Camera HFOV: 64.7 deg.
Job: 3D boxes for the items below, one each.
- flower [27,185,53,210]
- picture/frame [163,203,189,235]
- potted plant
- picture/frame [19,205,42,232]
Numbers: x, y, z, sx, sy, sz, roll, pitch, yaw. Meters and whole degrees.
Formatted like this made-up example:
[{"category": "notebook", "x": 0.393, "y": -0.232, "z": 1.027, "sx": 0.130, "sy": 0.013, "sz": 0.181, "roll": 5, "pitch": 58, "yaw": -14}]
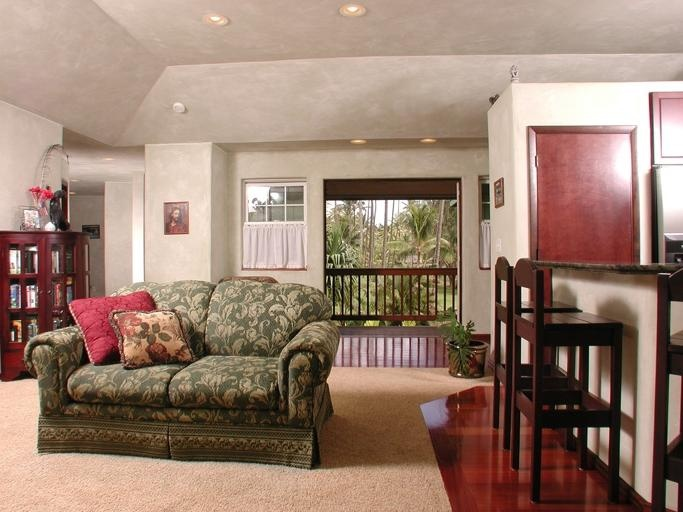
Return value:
[{"category": "flower", "x": -3.284, "y": -0.641, "z": 5.931, "sx": 0.242, "sy": 0.239, "sz": 0.238, "roll": 0, "pitch": -11, "yaw": -20}, {"category": "picture/frame", "x": -2.128, "y": -0.480, "z": 6.994, "sx": 0.412, "sy": 0.491, "sz": 0.033, "roll": 0, "pitch": -3, "yaw": 1}, {"category": "potted plant", "x": 1.300, "y": 0.895, "z": 5.643, "sx": 0.496, "sy": 0.716, "sz": 0.437, "roll": -1, "pitch": -2, "yaw": -42}, {"category": "picture/frame", "x": -3.261, "y": -0.396, "z": 5.667, "sx": 0.212, "sy": 0.241, "sz": 0.522, "roll": -6, "pitch": 9, "yaw": -29}]
